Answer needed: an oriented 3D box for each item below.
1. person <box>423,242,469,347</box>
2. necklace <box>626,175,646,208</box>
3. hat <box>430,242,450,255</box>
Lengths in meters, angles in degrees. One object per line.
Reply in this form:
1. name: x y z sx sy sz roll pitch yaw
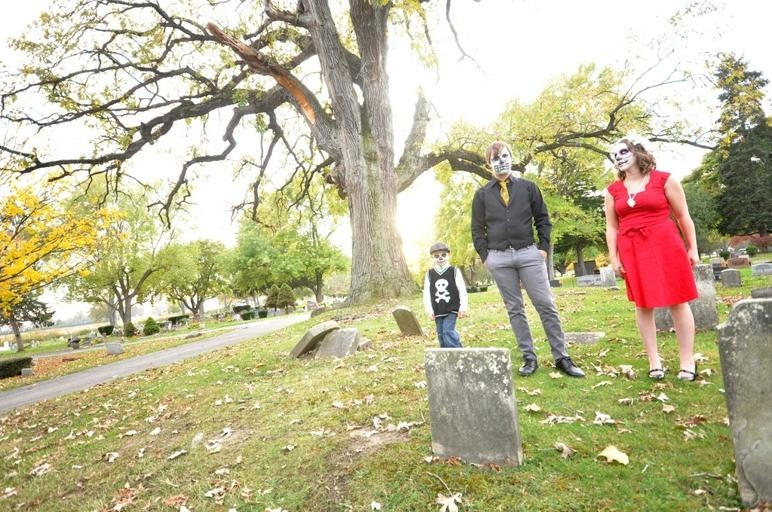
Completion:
1. person: 1.127 0.738 9.041 0.814 1.826 0.631 -9 -3 3
2. necklace: 4.012 -1.028 7.623 0.042 0.465 0.252 20 -11 -41
3. hat: 1.048 -0.145 9.210 0.530 0.286 0.732 0 1 6
